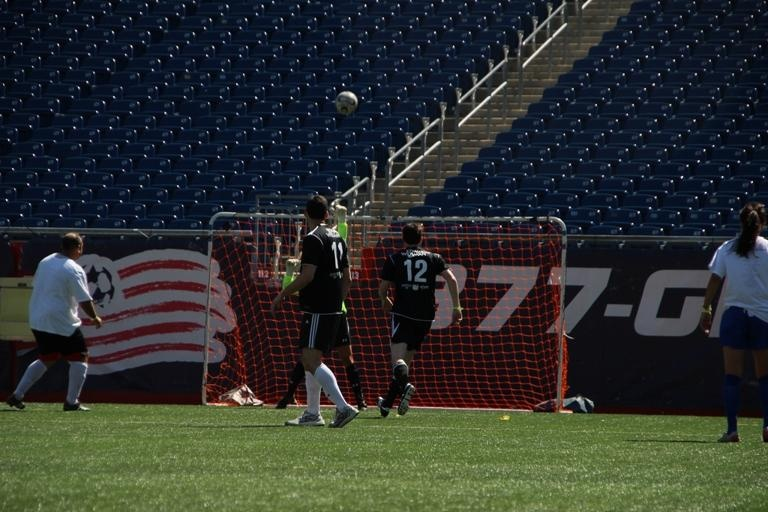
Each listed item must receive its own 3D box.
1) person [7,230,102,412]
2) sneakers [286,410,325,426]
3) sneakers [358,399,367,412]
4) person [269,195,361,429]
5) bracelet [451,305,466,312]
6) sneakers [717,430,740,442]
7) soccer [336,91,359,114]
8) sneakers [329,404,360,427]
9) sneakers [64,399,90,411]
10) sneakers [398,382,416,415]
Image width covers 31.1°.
[{"bbox_3d":[-5.641,1.112,23.948,1.299,3.085,0.706,3,-6,-3],"label":"person"},{"bbox_3d":[-1.272,2.654,22.580,0.672,0.244,0.240,2,-9,2],"label":"sneakers"},{"bbox_3d":[-0.453,2.673,24.738,0.297,0.199,0.109,-21,-20,41],"label":"sneakers"},{"bbox_3d":[-1.009,0.900,22.466,0.994,3.722,1.135,0,-7,22],"label":"person"},{"bbox_3d":[1.322,0.932,24.790,0.318,0.091,0.068,6,12,-10],"label":"bracelet"},{"bbox_3d":[5.430,2.860,21.822,0.377,0.151,0.134,0,-2,10],"label":"sneakers"},{"bbox_3d":[-0.880,-3.555,31.608,0.545,0.487,0.354,0,-7,23],"label":"soccer"},{"bbox_3d":[-0.643,2.607,22.341,0.630,0.208,0.292,-34,-60,31],"label":"sneakers"},{"bbox_3d":[-5.354,2.603,24.180,0.514,0.187,0.176,1,1,-11],"label":"sneakers"},{"bbox_3d":[0.374,2.450,23.247,0.229,0.589,0.259,15,18,-6],"label":"sneakers"}]
